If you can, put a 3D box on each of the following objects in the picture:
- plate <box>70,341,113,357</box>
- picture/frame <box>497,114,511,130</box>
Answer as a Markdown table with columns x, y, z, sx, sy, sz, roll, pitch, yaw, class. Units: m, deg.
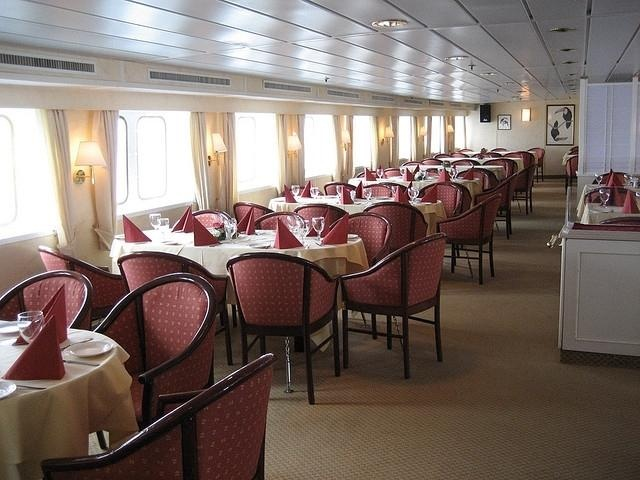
| x | y | z | sx | sy | sz | roll | pitch | yaw | class |
| --- | --- | --- | --- | --- | --- | --- | --- | --- | --- |
| -1.167 | 0.548 | 2.399 | 0.195 | 0.020 | 0.197 | -9 | 14 | -29 | plate |
| 8.882 | -5.822 | 22.619 | 0.612 | 0.778 | 0.048 | 13 | 27 | 39 | picture/frame |
